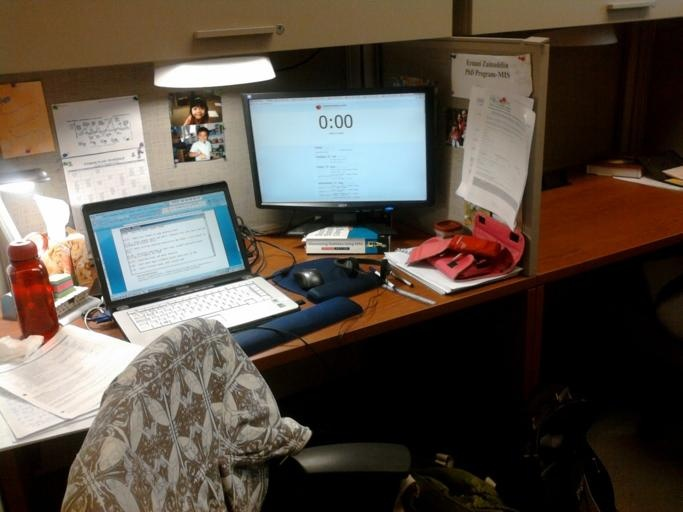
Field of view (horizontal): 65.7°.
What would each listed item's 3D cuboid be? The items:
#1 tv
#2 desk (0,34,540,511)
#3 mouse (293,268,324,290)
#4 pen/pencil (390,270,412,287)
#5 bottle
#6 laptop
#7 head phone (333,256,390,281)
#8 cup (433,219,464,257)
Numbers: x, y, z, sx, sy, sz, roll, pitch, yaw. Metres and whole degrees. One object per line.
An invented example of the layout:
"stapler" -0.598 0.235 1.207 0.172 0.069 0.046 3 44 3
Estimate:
"tv" -0.007 -0.327 1.759 0.517 0.354 0.144 0 24 5
"desk" -0.202 -0.009 1.458 1.220 1.069 0.660 -17 25 -33
"mouse" -0.091 0.066 1.533 0.047 0.024 0.075 -12 27 -19
"pen/pencil" 0.175 0.069 1.569 0.012 0.013 0.084 -13 31 -35
"bottle" -0.791 0.093 1.339 0.097 0.246 0.091 -4 22 2
"laptop" -0.452 0.030 1.468 0.510 0.315 0.477 -18 34 -31
"head phone" 0.063 0.029 1.619 0.167 0.062 0.164 5 10 8
"cup" 0.330 -0.052 1.632 0.092 0.040 0.092 -1 18 0
